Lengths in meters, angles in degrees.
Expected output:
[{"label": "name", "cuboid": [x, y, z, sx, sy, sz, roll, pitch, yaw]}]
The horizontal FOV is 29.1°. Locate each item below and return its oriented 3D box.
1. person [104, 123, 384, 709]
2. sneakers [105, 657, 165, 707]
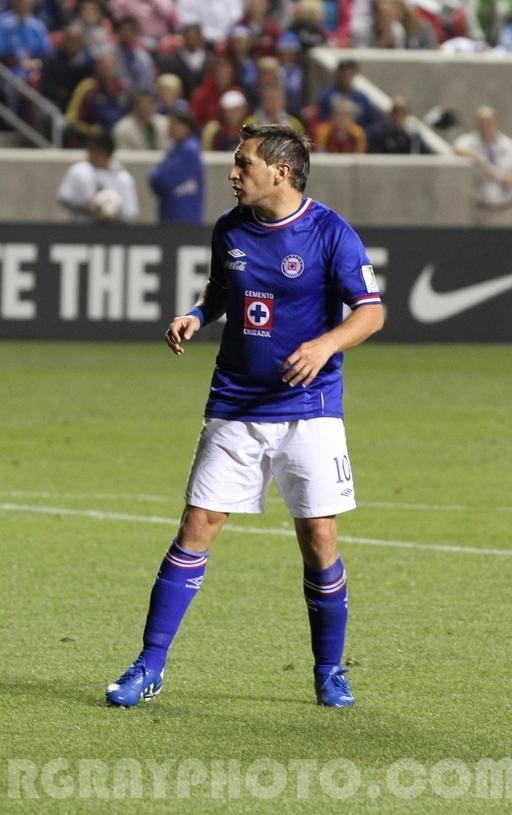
[{"label": "person", "cuboid": [0.006, 0.044, 2.799, 0.671, 1.657, 0.583, 2, 11, 6]}, {"label": "sneakers", "cuboid": [-0.335, 0.760, 2.774, 0.077, 0.102, 0.202, 11, 11, 39]}]
